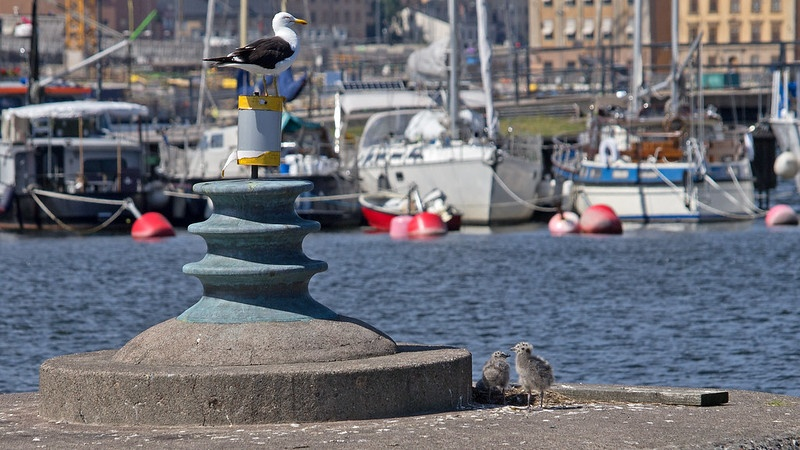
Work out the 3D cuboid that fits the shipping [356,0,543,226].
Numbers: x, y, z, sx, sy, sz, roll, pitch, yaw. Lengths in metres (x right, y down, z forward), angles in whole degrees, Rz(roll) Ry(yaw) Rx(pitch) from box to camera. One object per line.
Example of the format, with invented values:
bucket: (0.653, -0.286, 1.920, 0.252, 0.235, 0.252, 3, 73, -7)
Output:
shipping: (2.455, -5.665, 117.947, 9.561, 11.339, 5.409, 3, 6, 40)
